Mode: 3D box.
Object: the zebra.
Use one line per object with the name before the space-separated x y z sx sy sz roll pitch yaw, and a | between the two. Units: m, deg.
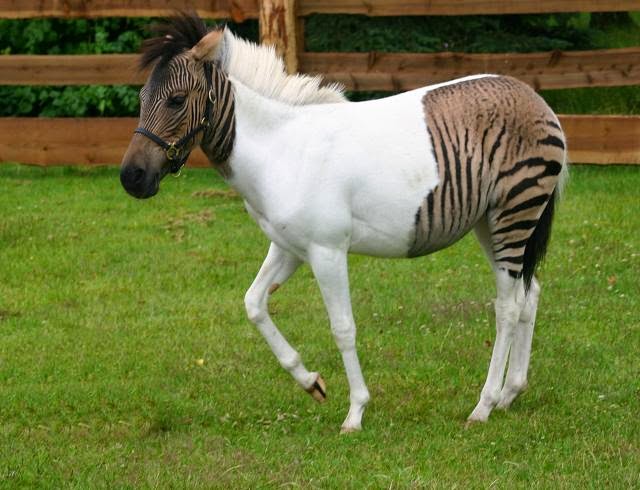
zebra | 0.205 -0.043 9.750 3.847 3.874 1.383 -3 12 -3
